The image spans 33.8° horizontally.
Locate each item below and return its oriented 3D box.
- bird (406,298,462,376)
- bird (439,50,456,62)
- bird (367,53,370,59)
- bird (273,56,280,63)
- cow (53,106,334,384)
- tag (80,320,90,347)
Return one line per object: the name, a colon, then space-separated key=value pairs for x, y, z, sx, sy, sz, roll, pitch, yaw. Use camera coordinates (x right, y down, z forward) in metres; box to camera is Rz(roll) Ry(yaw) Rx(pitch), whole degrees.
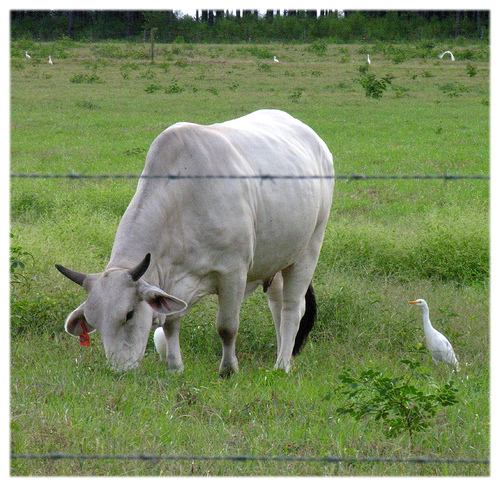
bird: x=1.648 y=0.806 z=7.232 sx=0.441 sy=0.522 sz=0.562 roll=6 pitch=14 yaw=9
bird: x=4.460 y=-4.248 z=18.624 sx=0.139 sy=0.223 sz=0.581 roll=0 pitch=15 yaw=-14
bird: x=2.822 y=-4.468 z=19.645 sx=0.057 sy=0.121 sz=0.031 roll=5 pitch=-7 yaw=-16
bird: x=0.634 y=-4.546 z=20.298 sx=0.146 sy=0.077 sz=0.181 roll=21 pitch=13 yaw=-18
cow: x=-0.277 y=0.075 z=6.858 sx=1.061 sy=2.067 sz=2.742 roll=12 pitch=16 yaw=32
tag: x=-1.255 y=0.667 z=6.205 sx=0.063 sy=0.193 sz=0.110 roll=0 pitch=13 yaw=-15
